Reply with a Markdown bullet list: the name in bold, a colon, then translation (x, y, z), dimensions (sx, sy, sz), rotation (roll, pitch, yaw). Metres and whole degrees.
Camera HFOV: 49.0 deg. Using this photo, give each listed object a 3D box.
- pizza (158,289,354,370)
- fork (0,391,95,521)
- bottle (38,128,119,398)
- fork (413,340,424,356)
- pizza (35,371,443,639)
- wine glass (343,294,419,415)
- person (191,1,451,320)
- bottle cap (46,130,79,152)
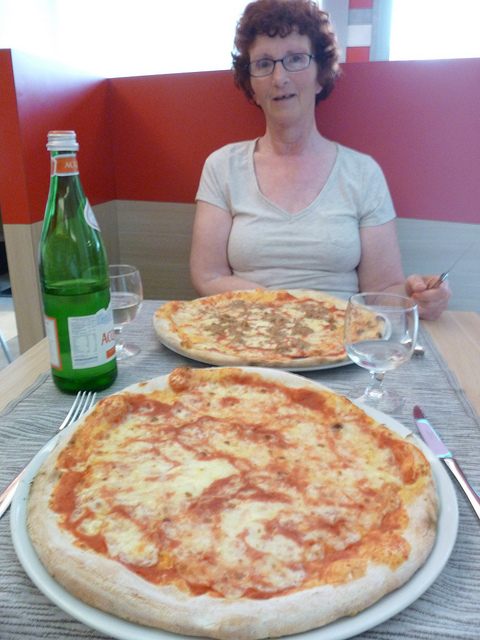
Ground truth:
- **pizza**: translation (0.037, -0.011, 0.934), dimensions (0.362, 0.053, 0.404), rotation (-2, 19, -9)
- **fork**: translation (-0.206, 0.136, 0.567), dimensions (0.020, 0.020, 0.185), rotation (17, 36, 23)
- **bottle**: translation (-0.218, -0.073, 0.705), dimensions (0.099, 0.339, 0.175), rotation (-7, 21, -19)
- **fork**: translation (0.291, 0.044, 0.857), dimensions (0.019, 0.008, 0.029), rotation (1, 29, 7)
- **pizza**: translation (0.005, 0.133, 0.492), dimensions (0.360, 0.028, 0.355), rotation (4, 19, 10)
- **wine glass**: translation (0.180, 0.046, 0.676), dimensions (0.097, 0.143, 0.090), rotation (-20, 33, -30)
- **person**: translation (0.150, -0.500, 1.520), dimensions (0.598, 0.792, 0.591), rotation (-2, 20, -6)
- **bottle cap**: translation (-0.214, -0.221, 0.638), dimensions (0.033, 0.018, 0.032), rotation (-19, 38, -35)
